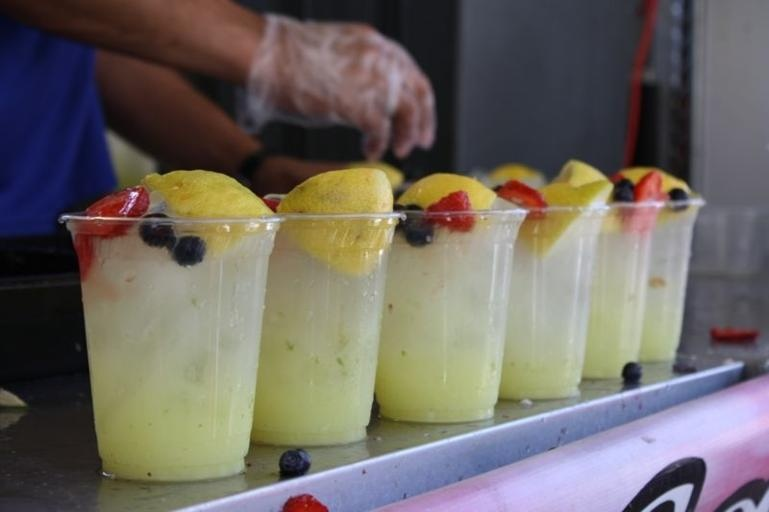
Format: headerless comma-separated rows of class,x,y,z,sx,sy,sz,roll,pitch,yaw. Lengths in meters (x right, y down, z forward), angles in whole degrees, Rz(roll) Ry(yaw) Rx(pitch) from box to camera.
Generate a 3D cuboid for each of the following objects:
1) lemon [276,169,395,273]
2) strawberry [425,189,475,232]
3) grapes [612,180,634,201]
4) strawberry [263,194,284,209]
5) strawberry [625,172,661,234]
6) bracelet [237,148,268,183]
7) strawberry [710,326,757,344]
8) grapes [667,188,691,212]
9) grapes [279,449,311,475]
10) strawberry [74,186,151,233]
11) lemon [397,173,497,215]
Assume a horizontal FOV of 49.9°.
lemon,-0.057,-0.052,1.178,0.159,0.121,0.157,-6,-16,10
strawberry,0.093,-0.067,1.190,0.064,0.054,0.067,-7,7,2
grapes,0.404,-0.110,1.406,0.027,0.037,0.031,5,-18,-2
strawberry,-0.161,-0.077,1.192,0.031,0.018,0.029,0,4,28
strawberry,0.429,-0.090,1.452,0.070,0.105,0.031,3,19,-39
bracelet,-0.418,-0.284,2.606,0.030,0.114,0.077,39,19,-33
strawberry,0.703,0.157,1.666,0.084,0.027,0.085,2,7,28
grapes,0.529,-0.101,1.492,0.049,0.031,0.046,0,0,30
grapes,-0.110,0.256,1.025,0.038,0.021,0.033,-2,8,-4
strawberry,-0.332,-0.054,1.034,0.058,0.024,0.077,-9,20,44
lemon,0.089,-0.096,1.230,0.093,0.025,0.085,-6,1,-23
